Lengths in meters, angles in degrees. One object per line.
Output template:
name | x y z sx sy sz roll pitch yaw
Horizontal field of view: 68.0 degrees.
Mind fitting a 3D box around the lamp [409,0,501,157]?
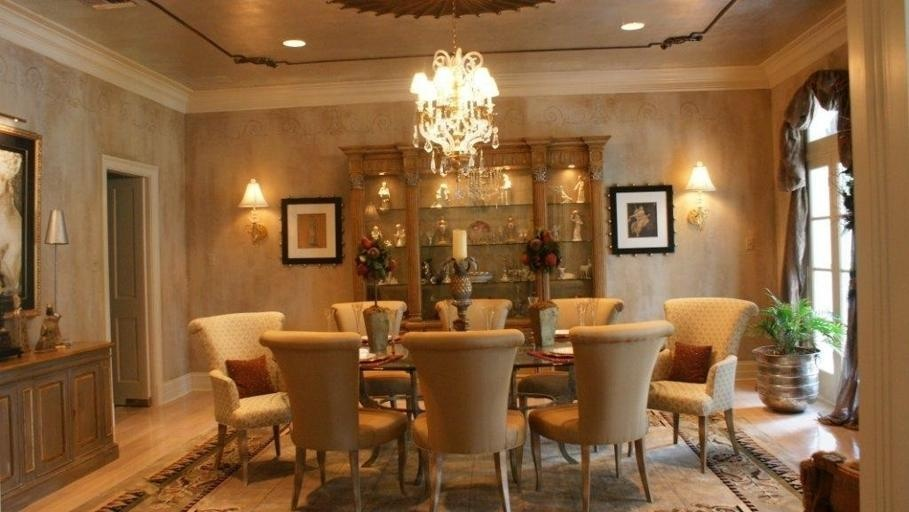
lamp | -0.030 -1.794 7.408 0.979 1.140 1.719 -4 0 1

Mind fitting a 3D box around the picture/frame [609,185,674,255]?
picture/frame | 2.488 -0.485 8.875 1.017 0.965 0.078 -1 2 3

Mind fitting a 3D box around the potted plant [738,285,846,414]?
potted plant | 4.012 1.162 7.920 0.972 1.263 1.050 1 -1 -4

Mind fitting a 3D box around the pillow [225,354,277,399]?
pillow | -2.100 1.268 6.967 0.451 0.390 0.134 -17 -13 -42

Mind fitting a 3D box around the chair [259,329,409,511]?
chair | -1.075 1.508 6.123 1.209 1.372 0.536 -4 1 -15

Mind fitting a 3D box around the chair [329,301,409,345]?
chair | -1.026 0.852 7.658 0.928 0.746 0.858 0 -7 -11

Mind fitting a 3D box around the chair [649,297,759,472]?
chair | 2.471 1.263 7.127 1.305 1.480 1.224 -4 2 -19

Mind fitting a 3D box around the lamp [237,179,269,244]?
lamp | -2.691 -0.613 9.045 0.392 0.778 0.339 -4 1 -8

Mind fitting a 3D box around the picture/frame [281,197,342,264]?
picture/frame | -1.884 -0.359 9.059 1.011 0.951 0.045 -1 -3 1

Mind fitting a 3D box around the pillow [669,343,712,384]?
pillow | 2.495 1.148 7.083 0.404 0.388 0.153 4 -19 30

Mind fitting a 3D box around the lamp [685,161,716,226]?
lamp | 3.217 -0.800 8.779 0.403 0.893 0.298 -4 2 8

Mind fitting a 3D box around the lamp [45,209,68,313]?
lamp | -4.275 0.037 7.269 0.195 1.179 0.540 -5 2 -30
